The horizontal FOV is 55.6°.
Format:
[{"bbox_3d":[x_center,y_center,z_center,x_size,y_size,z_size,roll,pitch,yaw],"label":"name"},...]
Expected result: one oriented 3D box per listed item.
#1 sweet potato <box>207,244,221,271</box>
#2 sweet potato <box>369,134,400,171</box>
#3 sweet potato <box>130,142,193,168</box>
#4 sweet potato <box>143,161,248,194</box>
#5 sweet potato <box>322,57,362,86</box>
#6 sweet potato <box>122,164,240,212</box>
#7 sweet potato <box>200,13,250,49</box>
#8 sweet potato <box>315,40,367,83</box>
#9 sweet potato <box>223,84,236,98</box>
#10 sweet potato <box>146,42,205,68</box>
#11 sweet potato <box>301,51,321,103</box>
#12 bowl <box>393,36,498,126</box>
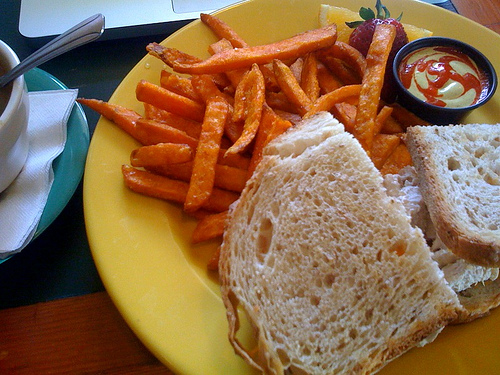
[{"bbox_3d":[-0.178,0.349,2.341,0.026,0.102,0.102,26,77,-24],"label":"sweet potato"},{"bbox_3d":[0.686,-0.201,2.466,0.169,0.050,0.181,5,76,-29],"label":"sweet potato"},{"bbox_3d":[-0.423,-0.162,2.466,0.433,0.146,0.120,2,89,29],"label":"sweet potato"},{"bbox_3d":[-0.434,-0.067,2.547,0.571,0.136,0.099,3,22,39],"label":"sweet potato"},{"bbox_3d":[0.522,-0.665,2.813,0.276,0.149,0.065,-42,80,-7],"label":"sweet potato"},{"bbox_3d":[-0.335,-0.021,2.590,0.784,0.150,0.134,5,104,-31],"label":"sweet potato"},{"bbox_3d":[-0.165,-0.950,2.855,0.416,0.072,0.098,40,83,24],"label":"sweet potato"},{"bbox_3d":[0.535,-0.746,2.713,0.239,0.256,0.061,35,78,5],"label":"sweet potato"},{"bbox_3d":[-0.117,-0.554,2.685,0.063,0.021,0.064,21,101,11],"label":"sweet potato"},{"bbox_3d":[-0.428,-0.751,2.674,0.366,0.115,0.103,18,46,5],"label":"sweet potato"},{"bbox_3d":[0.351,-0.608,2.679,0.097,0.408,0.092,-38,66,-13],"label":"sweet potato"},{"bbox_3d":[1.075,-0.580,2.712,0.530,0.204,0.553,-3,63,7],"label":"bowl"}]
